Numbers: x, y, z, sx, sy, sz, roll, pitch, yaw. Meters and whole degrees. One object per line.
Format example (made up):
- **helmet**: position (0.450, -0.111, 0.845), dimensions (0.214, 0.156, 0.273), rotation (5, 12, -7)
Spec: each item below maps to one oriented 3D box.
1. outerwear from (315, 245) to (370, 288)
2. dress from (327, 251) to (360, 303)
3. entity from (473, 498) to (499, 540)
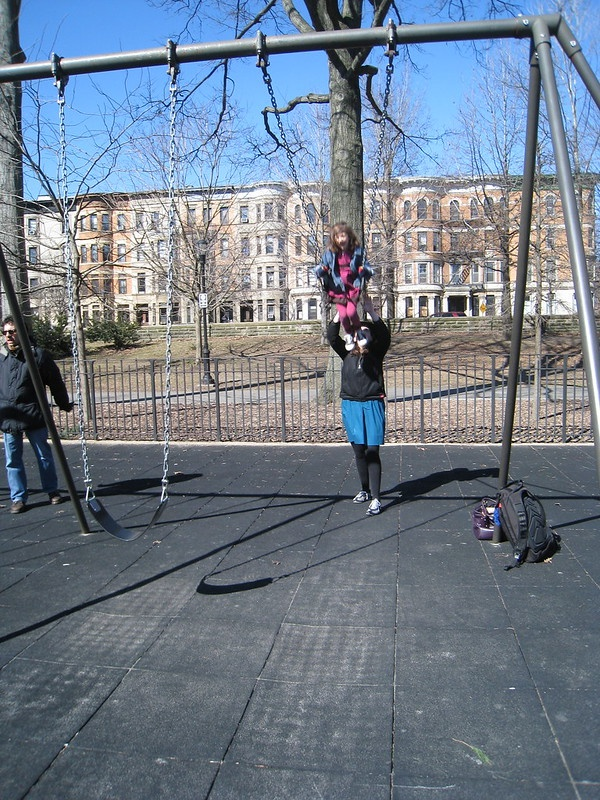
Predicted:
- **outerwear**: position (0.296, -0.823, 4.882), dimensions (0.369, 0.378, 0.243), rotation (0, 4, 2)
- **dress**: position (0.305, -0.851, 4.986), dimensions (0.195, 0.302, 0.125), rotation (1, 21, 9)
- **entity**: position (1.384, 0.862, 5.188), dimensions (0.181, 0.291, 0.275), rotation (0, -3, 6)
